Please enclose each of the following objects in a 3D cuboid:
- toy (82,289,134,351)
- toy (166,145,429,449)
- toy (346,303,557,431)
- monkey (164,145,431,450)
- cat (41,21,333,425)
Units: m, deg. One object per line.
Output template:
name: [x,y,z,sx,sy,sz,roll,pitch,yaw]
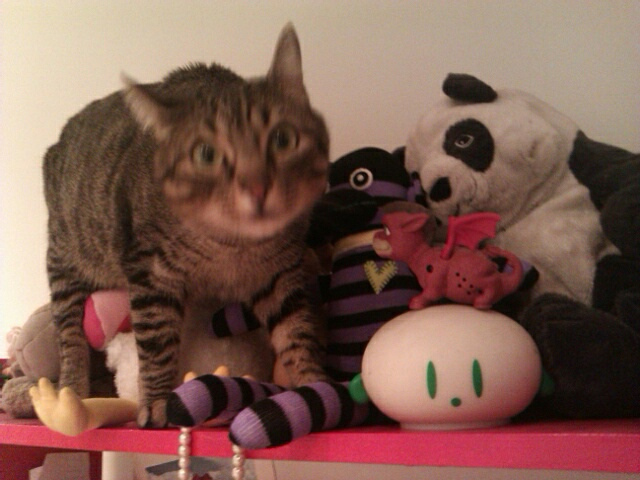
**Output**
toy: [-0.343,0.122,1.150,0.074,0.102,0.055,5,12,5]
toy: [0.013,0.072,1.130,0.460,0.470,0.384,3,-8,-31]
toy: [0.212,0.182,1.063,0.274,0.165,0.235,-2,-2,14]
monkey: [-0.090,0.087,1.175,0.427,0.442,0.353,2,-5,-29]
cat: [-0.252,-0.024,1.296,0.355,0.642,0.735,-9,12,-38]
